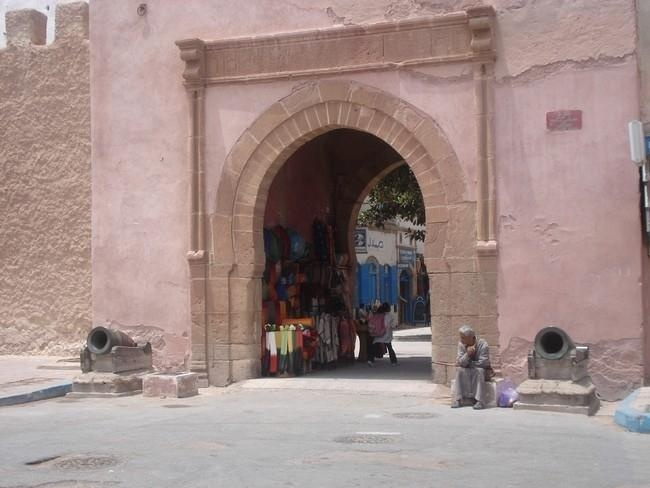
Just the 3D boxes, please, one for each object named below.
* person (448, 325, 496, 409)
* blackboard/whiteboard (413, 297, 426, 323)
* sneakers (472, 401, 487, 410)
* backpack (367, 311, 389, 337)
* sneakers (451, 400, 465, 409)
[{"bbox_3d":[2.079,1.727,12.799,0.614,1.098,0.516,-1,2,3],"label":"person"},{"bbox_3d":[3.835,2.680,36.758,0.510,1.091,1.199,-1,2,5],"label":"blackboard/whiteboard"},{"bbox_3d":[2.166,2.228,12.657,0.155,0.099,0.313,0,2,24],"label":"sneakers"},{"bbox_3d":[1.097,1.623,18.363,0.508,0.688,0.379,-5,-20,22],"label":"backpack"},{"bbox_3d":[1.865,2.219,12.694,0.196,0.105,0.147,-1,2,2],"label":"sneakers"}]
